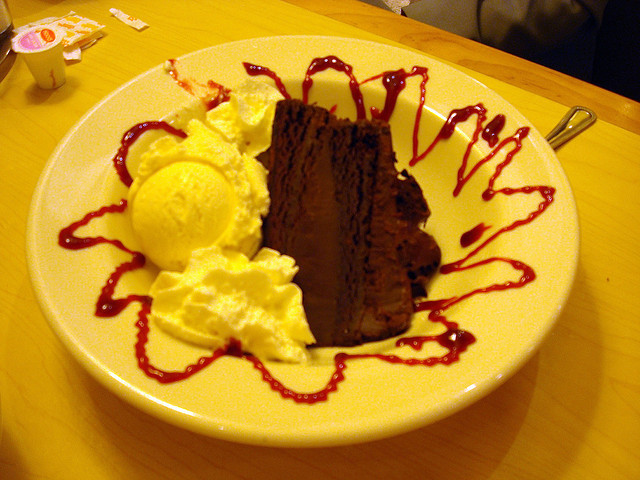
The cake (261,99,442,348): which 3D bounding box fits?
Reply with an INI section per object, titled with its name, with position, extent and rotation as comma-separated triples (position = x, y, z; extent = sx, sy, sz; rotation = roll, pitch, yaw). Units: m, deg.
[cake]
position = 0.059, -0.081, 1.782
extent = 0.494, 0.177, 0.775
rotation = -25, 80, -4
